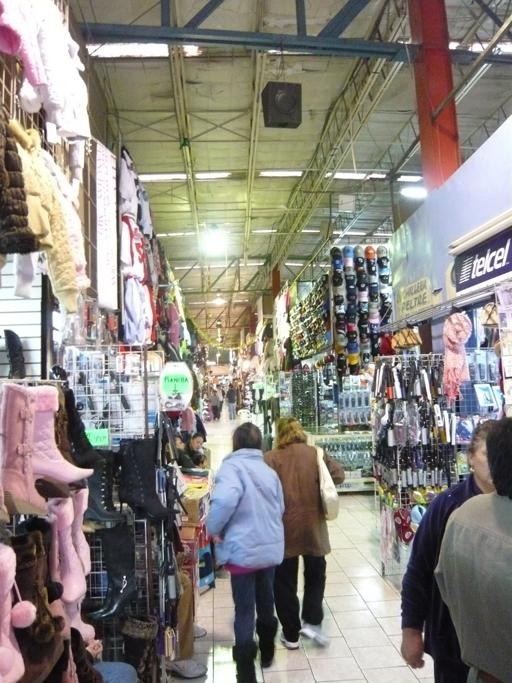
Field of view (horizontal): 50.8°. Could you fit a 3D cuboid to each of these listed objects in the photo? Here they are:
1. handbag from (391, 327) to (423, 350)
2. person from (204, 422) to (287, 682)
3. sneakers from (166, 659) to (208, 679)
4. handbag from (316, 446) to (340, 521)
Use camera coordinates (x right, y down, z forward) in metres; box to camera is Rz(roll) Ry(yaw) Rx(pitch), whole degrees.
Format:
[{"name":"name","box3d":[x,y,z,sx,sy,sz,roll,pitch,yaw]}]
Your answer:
[{"name":"handbag","box3d":[1.336,-0.022,4.844,0.163,0.106,0.245,-12,18,2]},{"name":"person","box3d":[-0.020,1.129,2.842,0.351,1.379,0.563,-4,-5,17]},{"name":"sneakers","box3d":[-0.390,1.787,2.975,0.200,0.089,0.104,2,-4,-3]},{"name":"handbag","box3d":[0.428,0.869,3.296,0.106,0.428,0.272,-3,-5,6]}]
